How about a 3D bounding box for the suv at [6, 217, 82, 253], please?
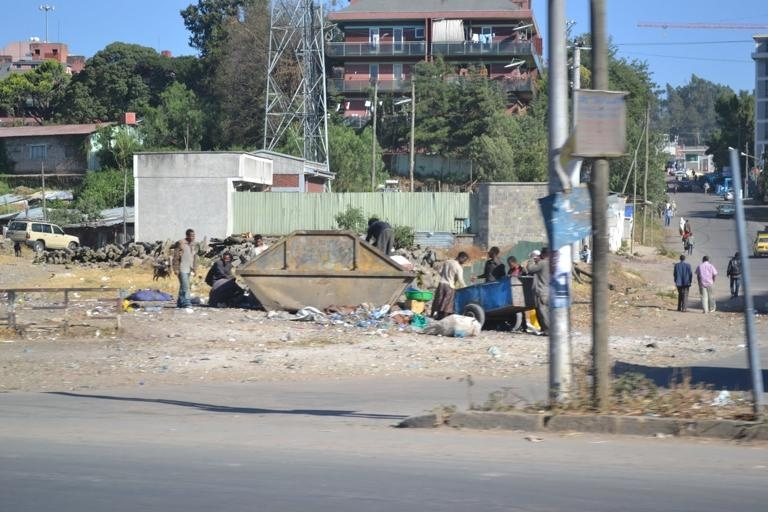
[{"bbox_3d":[-25.504,-1.609,113.647,5.379,2.108,2.736,-2,4,-41],"label":"suv"}]
